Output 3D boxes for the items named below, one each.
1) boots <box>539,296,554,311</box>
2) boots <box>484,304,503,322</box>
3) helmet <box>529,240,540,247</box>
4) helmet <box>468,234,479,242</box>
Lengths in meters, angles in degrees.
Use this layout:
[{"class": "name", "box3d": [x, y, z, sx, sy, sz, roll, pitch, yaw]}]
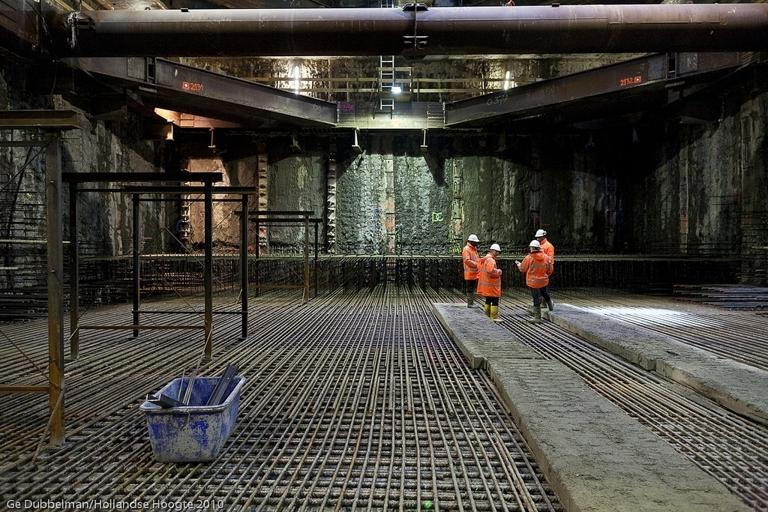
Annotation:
[{"class": "boots", "box3d": [4.443, 1.236, 17.574, 0.259, 0.337, 0.785, -2, 4, 15]}, {"class": "boots", "box3d": [2.927, 1.480, 16.868, 0.499, 0.607, 0.340, -3, 4, -5]}, {"class": "helmet", "box3d": [3.908, -0.338, 16.591, 0.262, 0.140, 0.308, 0, -2, -1]}, {"class": "helmet", "box3d": [2.407, -0.517, 17.768, 0.447, 0.219, 0.374, -1, 3, 18]}]
